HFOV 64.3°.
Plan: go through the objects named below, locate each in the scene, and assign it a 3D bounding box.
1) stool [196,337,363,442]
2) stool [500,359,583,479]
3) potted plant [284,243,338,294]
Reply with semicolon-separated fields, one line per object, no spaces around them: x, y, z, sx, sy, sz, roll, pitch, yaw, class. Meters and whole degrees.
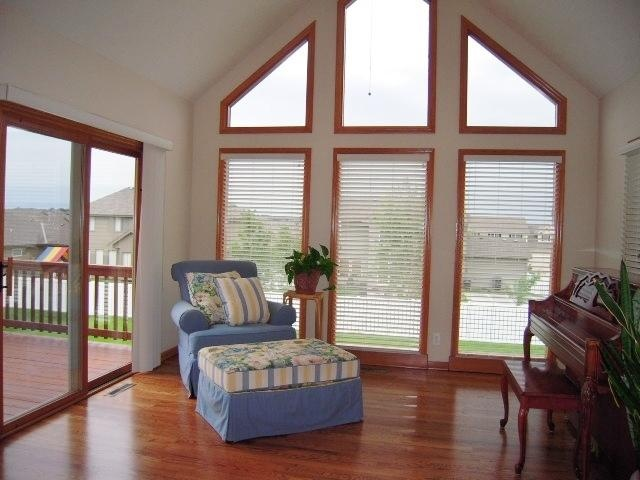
-0.341;1.237;4.371;1.361;0.620;0.587;-1;10;-20;stool
1.652;1.251;4.079;0.589;0.729;0.978;2;1;3;stool
-0.111;0.306;5.495;0.533;0.375;0.544;0;-1;3;potted plant
